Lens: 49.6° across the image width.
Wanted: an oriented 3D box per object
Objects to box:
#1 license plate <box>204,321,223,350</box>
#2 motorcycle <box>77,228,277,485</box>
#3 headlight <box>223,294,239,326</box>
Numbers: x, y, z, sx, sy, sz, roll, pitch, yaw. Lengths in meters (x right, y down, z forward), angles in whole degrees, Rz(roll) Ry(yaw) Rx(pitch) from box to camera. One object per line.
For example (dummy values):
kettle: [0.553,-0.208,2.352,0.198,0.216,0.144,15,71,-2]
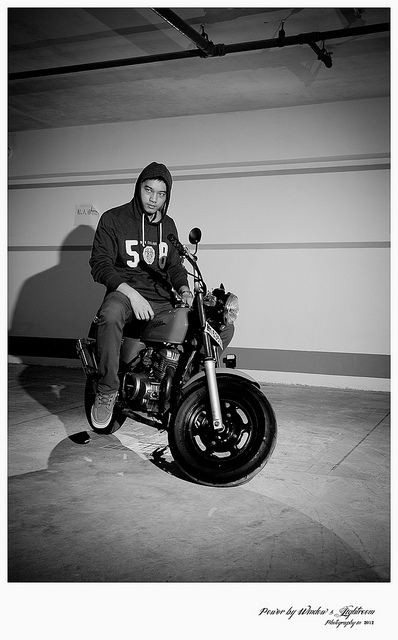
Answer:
license plate: [0.081,0.077,2.412,0.010,0.053,0.175,1,-40,37]
motorcycle: [-0.202,0.167,2.756,0.677,1.344,1.661,7,5,-45]
headlight: [0.184,-0.056,2.462,0.058,0.162,0.120,7,-13,14]
